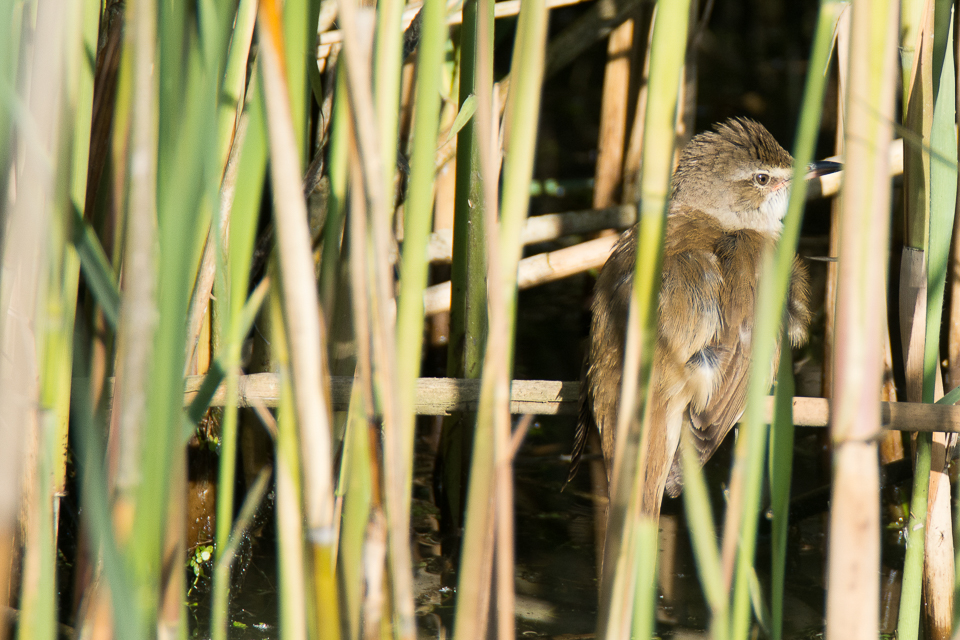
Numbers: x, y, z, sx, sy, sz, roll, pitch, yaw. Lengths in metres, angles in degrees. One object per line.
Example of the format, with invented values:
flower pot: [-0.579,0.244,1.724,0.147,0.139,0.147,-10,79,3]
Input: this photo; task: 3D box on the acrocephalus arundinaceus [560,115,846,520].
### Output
acrocephalus arundinaceus: [0.650,-0.057,4.052,0.555,1.115,1.048,5,7,40]
